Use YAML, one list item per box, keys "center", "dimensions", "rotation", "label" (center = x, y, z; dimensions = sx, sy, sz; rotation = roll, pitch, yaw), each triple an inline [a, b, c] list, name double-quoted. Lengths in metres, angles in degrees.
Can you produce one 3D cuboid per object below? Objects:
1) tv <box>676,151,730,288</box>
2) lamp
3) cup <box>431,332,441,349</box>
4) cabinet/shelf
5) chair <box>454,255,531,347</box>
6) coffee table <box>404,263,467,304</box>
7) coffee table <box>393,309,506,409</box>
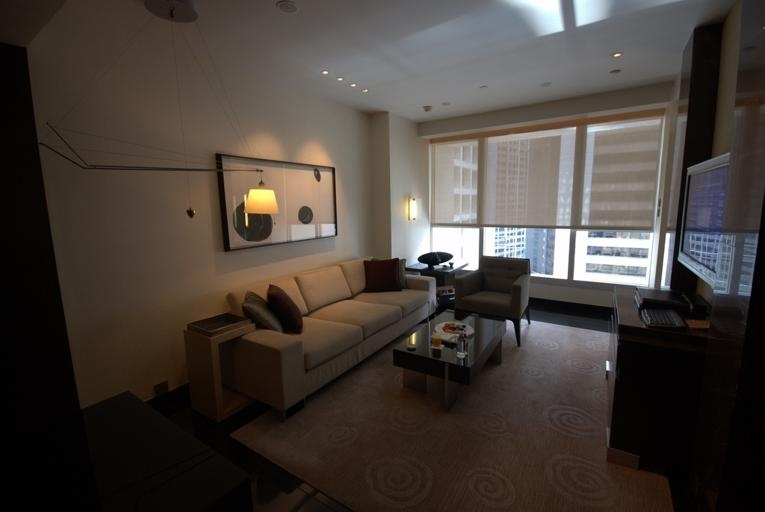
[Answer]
- center: [2.354, -0.276, 3.572]
  dimensions: [0.071, 0.869, 1.006]
  rotation: [2, 13, 28]
  label: "tv"
- center: [-1.922, -1.239, 4.066]
  dimensions: [1.706, 1.615, 0.515]
  rotation: [2, 11, -12]
  label: "lamp"
- center: [0.483, 0.772, 4.458]
  dimensions: [0.094, 0.103, 0.096]
  rotation: [1, 2, 0]
  label: "cup"
- center: [2.041, 0.937, 3.599]
  dimensions: [0.392, 0.737, 1.255]
  rotation: [3, 14, 28]
  label: "cabinet/shelf"
- center: [1.299, 0.423, 5.714]
  dimensions: [0.903, 0.996, 0.986]
  rotation: [3, 7, 26]
  label: "chair"
- center: [0.794, 0.284, 6.994]
  dimensions: [0.623, 0.476, 0.619]
  rotation: [2, 9, 30]
  label: "coffee table"
- center: [0.534, 0.912, 4.401]
  dimensions: [0.645, 0.394, 1.068]
  rotation: [4, 14, 28]
  label: "coffee table"
